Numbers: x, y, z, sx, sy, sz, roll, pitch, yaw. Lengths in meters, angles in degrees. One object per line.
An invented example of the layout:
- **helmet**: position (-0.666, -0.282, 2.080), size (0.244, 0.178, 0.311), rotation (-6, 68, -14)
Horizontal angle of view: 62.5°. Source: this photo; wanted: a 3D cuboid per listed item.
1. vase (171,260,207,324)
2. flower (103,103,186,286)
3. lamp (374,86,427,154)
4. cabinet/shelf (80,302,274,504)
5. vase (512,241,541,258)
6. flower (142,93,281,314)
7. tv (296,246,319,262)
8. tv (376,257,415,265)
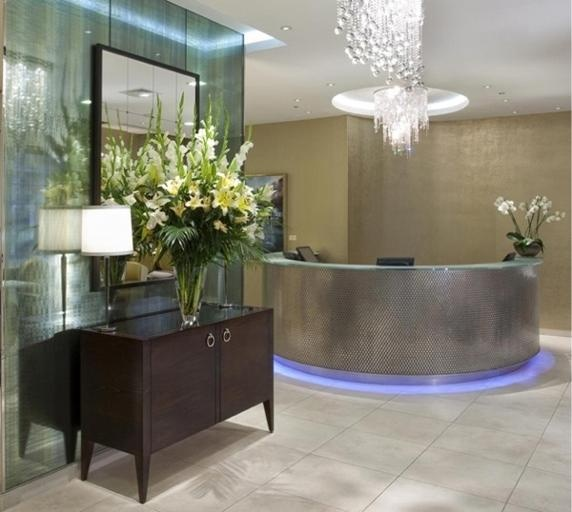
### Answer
- **vase**: position (-0.624, 0.249, 3.057), size (0.270, 0.533, 0.318), rotation (1, -4, -13)
- **flower**: position (-0.806, -0.398, 3.095), size (0.477, 0.765, 0.458), rotation (-7, -11, -3)
- **lamp**: position (1.516, -1.832, 6.227), size (0.669, 0.906, 0.464), rotation (1, 3, 15)
- **cabinet/shelf**: position (-0.653, 0.879, 3.224), size (0.519, 0.910, 1.279), rotation (3, 3, 31)
- **vase**: position (2.916, -0.078, 5.680), size (0.301, 0.194, 0.250), rotation (2, 3, 33)
- **flower**: position (-0.522, -0.345, 3.137), size (0.876, 1.466, 0.823), rotation (-1, 3, -9)
- **tv**: position (0.293, -0.019, 6.449), size (0.213, 0.195, 0.673), rotation (1, 3, 14)
- **tv**: position (1.462, 0.076, 6.302), size (0.468, 0.088, 0.413), rotation (2, 3, 38)
